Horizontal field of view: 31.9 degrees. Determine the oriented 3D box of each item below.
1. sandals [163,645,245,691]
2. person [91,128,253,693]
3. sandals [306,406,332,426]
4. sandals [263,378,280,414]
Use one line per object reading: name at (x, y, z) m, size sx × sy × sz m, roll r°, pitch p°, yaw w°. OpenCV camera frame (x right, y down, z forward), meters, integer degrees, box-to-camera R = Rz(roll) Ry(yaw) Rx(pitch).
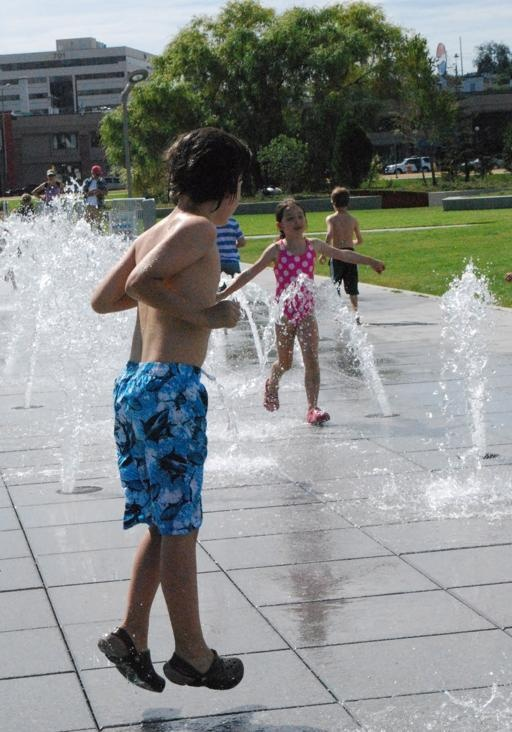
sandals at (-0.133, 0.837, 2.480) m, size 0.236 × 0.099 × 0.104 m, roll 9°, pitch 13°, yaw -28°
person at (-0.255, 0.144, 2.556) m, size 0.517 × 1.611 × 0.529 m, roll -2°, pitch 9°, yaw 4°
sandals at (0.424, 0.347, 6.145) m, size 0.154 × 0.115 × 0.196 m, roll -2°, pitch 9°, yaw 4°
sandals at (0.112, 0.225, 6.573) m, size 0.100 × 0.250 × 0.110 m, roll -2°, pitch 3°, yaw -4°
